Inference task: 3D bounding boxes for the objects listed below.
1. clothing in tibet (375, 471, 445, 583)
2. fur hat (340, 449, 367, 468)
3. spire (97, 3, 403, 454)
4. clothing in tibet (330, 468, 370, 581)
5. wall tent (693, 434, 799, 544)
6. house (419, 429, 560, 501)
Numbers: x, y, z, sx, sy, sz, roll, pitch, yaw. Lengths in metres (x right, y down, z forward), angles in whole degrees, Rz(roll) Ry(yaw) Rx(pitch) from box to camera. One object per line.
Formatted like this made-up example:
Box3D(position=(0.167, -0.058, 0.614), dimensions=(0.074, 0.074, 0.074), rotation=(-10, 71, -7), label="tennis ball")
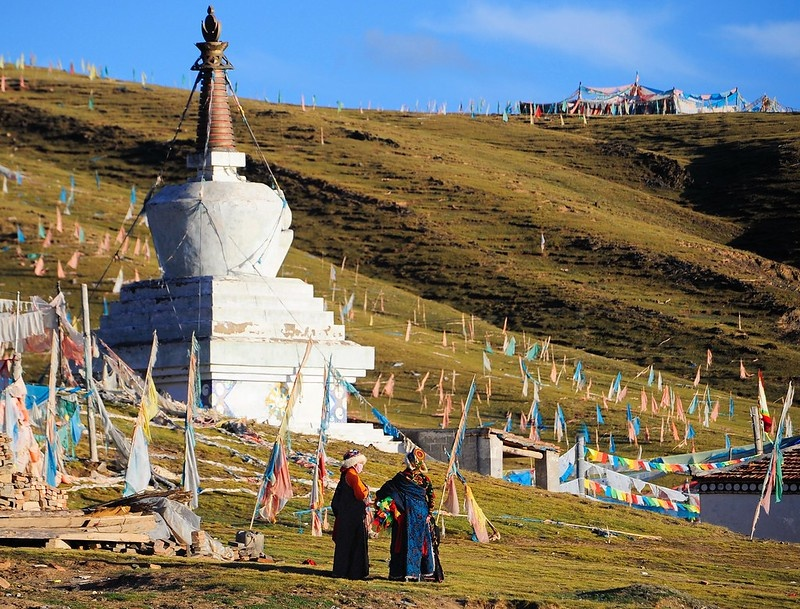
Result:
Box3D(position=(0.544, 10.086, 116.689), dimensions=(2.971, 4.821, 0.521), rotation=(6, 1, -1), label="clothing in tibet")
Box3D(position=(-2.044, 7.045, 117.027), dimensions=(0.903, 0.745, 0.815), rotation=(9, -12, -8), label="fur hat")
Box3D(position=(-8.148, -4.419, 132.289), dimensions=(9.533, 21.094, 8.688), rotation=(7, 1, 43), label="spire")
Box3D(position=(-2.169, 9.900, 117.120), dimensions=(1.631, 5.292, 2.300), rotation=(14, -21, -36), label="clothing in tibet")
Box3D(position=(18.705, 9.790, 132.867), dimensions=(4.754, 3.460, 4.688), rotation=(1, 0, -41), label="wall tent")
Box3D(position=(4.738, 7.967, 134.514), dimensions=(7.649, 3.091, 3.475), rotation=(6, 1, 5), label="house")
